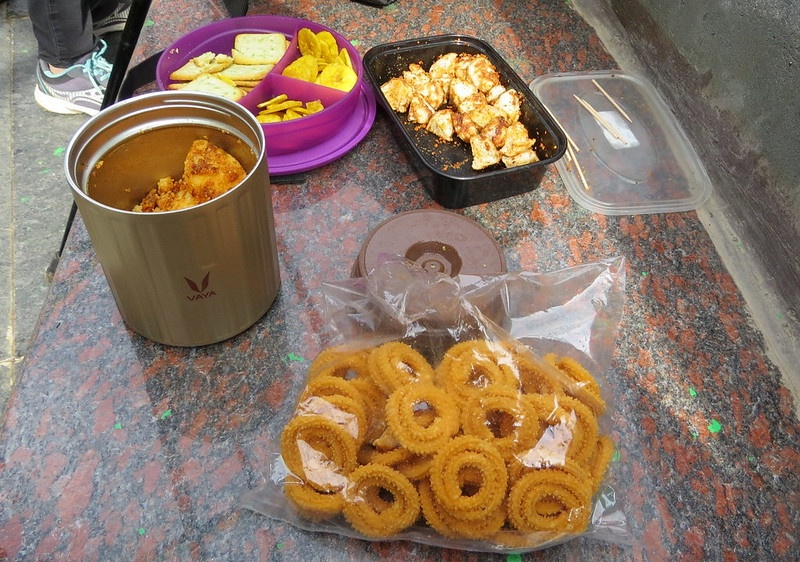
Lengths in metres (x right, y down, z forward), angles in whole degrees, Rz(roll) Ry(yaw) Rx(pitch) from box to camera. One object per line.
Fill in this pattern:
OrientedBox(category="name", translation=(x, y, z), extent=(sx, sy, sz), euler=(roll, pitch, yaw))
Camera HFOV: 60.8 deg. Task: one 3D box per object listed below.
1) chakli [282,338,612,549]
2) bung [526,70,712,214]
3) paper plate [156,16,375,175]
OrientedBox(category="chakli", translation=(0.071, 0.229, 1.031), extent=(0.494, 0.132, 0.281), euler=(6, 57, -4))
OrientedBox(category="bung", translation=(0.459, -0.365, 1.340), extent=(0.227, 0.051, 0.372), euler=(-5, 56, -5))
OrientedBox(category="paper plate", translation=(-0.296, -0.499, 1.461), extent=(0.489, 0.327, 0.407), euler=(-13, 39, -13))
